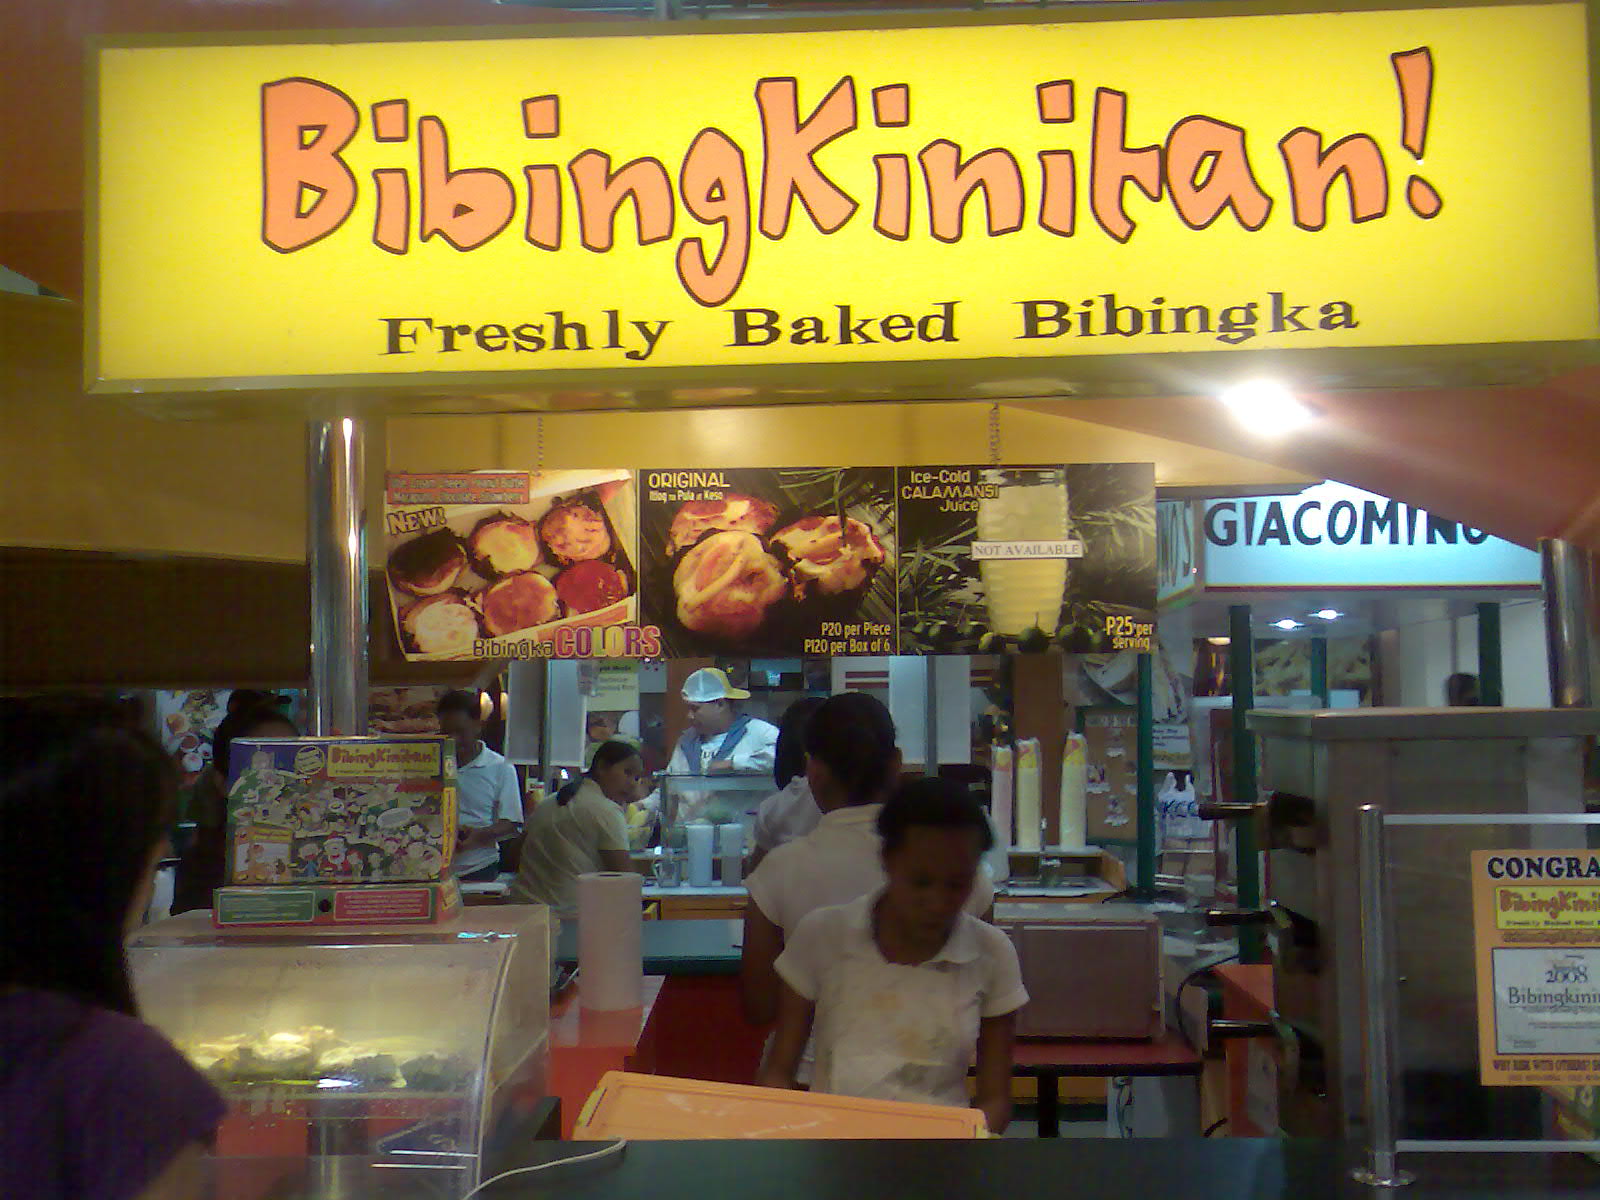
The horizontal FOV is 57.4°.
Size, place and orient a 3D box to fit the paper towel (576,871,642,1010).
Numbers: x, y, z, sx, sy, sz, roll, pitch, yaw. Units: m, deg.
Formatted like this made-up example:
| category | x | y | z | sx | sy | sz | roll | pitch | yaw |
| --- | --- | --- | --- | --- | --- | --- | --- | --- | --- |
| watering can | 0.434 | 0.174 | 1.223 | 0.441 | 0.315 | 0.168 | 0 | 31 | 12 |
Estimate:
| category | x | y | z | sx | sy | sz | roll | pitch | yaw |
| --- | --- | --- | --- | --- | --- | --- | --- | --- | --- |
| paper towel | -0.416 | 0.780 | 3.276 | 0.181 | 0.305 | 0.175 | 6 | -33 | -18 |

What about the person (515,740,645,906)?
| category | x | y | z | sx | sy | sz | roll | pitch | yaw |
| --- | --- | --- | --- | --- | --- | --- | --- | --- | --- |
| person | -0.804 | 0.795 | 5.194 | 0.407 | 0.516 | 0.795 | -1 | -2 | -8 |

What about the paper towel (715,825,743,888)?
| category | x | y | z | sx | sy | sz | roll | pitch | yaw |
| --- | --- | --- | --- | --- | --- | --- | --- | --- | --- |
| paper towel | -0.269 | 0.970 | 5.666 | 0.117 | 0.233 | 0.314 | -1 | -2 | -2 |

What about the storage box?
| category | x | y | z | sx | sy | sz | roll | pitch | yaw |
| --- | --- | --- | --- | --- | --- | --- | --- | --- | --- |
| storage box | 0.675 | 0.909 | 3.557 | 0.497 | 0.343 | 0.281 | 0 | -7 | 1 |

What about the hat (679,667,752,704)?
| category | x | y | z | sx | sy | sz | roll | pitch | yaw |
| --- | --- | --- | --- | --- | --- | --- | --- | --- | --- |
| hat | -0.400 | 0.387 | 6.858 | 0.243 | 0.116 | 0.161 | -6 | 5 | -19 |

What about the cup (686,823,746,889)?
| category | x | y | z | sx | sy | sz | roll | pitch | yaw |
| --- | --- | --- | --- | --- | --- | --- | --- | --- | --- |
| cup | -0.338 | 0.979 | 5.617 | 0.255 | 0.246 | 0.219 | -3 | -5 | 37 |
